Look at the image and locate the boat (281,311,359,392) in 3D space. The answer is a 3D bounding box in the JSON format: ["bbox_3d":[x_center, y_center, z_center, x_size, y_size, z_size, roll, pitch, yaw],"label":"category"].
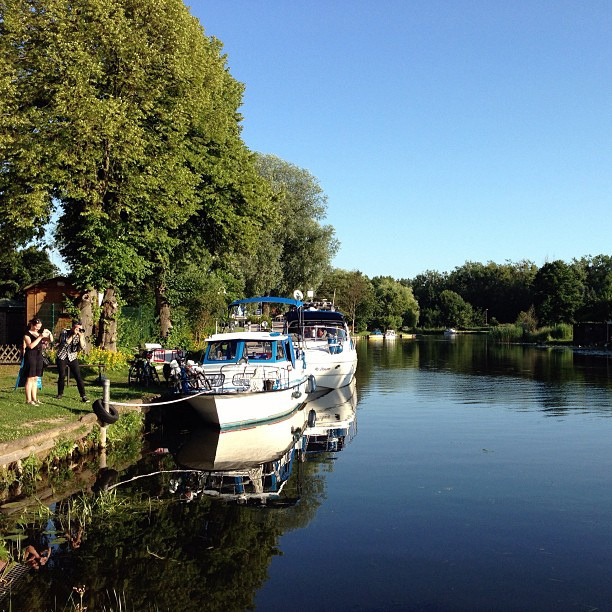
[{"bbox_3d":[0.474,1.201,29.361,2.610,2.826,6.765,-7,22,1],"label":"boat"}]

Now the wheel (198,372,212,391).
[{"bbox_3d":[-2.561,1.938,16.100,0.390,0.459,0.245,0,0,25],"label":"wheel"}]

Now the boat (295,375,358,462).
[{"bbox_3d":[0.554,3.470,19.440,0.812,1.185,4.227,2,5,6],"label":"boat"}]

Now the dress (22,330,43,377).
[{"bbox_3d":[-6.658,1.287,15.274,0.436,0.905,0.626,0,0,-26],"label":"dress"}]

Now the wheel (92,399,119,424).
[{"bbox_3d":[-4.626,2.429,14.451,0.489,0.568,0.621,0,-1,-10],"label":"wheel"}]

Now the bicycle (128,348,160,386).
[{"bbox_3d":[-5.675,2.225,21.617,0.709,1.106,1.524,2,-6,-34],"label":"bicycle"}]
